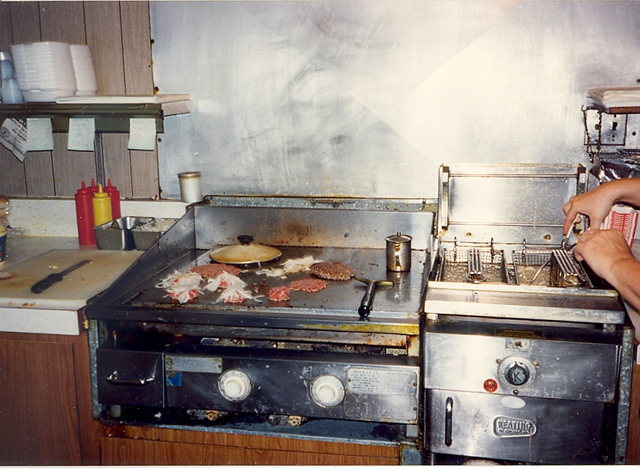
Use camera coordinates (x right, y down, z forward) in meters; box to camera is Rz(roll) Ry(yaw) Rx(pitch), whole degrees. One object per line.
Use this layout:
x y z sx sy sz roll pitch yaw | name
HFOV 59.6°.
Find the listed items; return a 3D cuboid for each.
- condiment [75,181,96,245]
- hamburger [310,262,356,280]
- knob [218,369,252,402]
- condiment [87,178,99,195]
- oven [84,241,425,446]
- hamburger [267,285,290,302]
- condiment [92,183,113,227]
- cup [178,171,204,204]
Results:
-1.337 -0.114 3.170 0.106 0.353 0.094 7 10 35 | condiment
0.057 0.174 2.645 0.226 0.056 0.148 7 9 39 | hamburger
-0.327 0.580 2.202 0.130 0.115 0.117 5 -3 1 | knob
-1.310 -0.274 3.233 0.089 0.085 0.084 0 -3 -22 | condiment
-0.223 0.460 2.510 1.387 0.687 0.747 3 8 10 | oven
-0.180 0.248 2.416 0.091 0.048 0.155 1 7 -4 | hamburger
-1.230 -0.154 3.153 0.103 0.216 0.059 -1 9 -19 | condiment
-0.723 -0.258 3.135 0.145 0.167 0.108 -3 9 -28 | cup
